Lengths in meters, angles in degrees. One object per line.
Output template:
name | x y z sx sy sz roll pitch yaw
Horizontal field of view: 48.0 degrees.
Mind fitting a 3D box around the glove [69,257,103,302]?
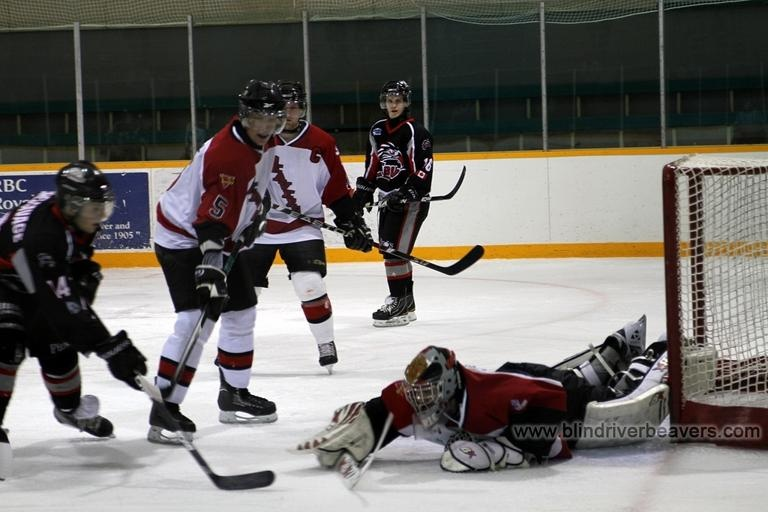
glove | -1.267 0.095 3.660 0.158 0.170 0.074 8 -2 -25

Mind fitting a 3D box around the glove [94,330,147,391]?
glove | -1.074 0.433 3.600 0.161 0.257 0.069 -39 22 7

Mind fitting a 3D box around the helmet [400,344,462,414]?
helmet | 0.197 0.503 3.590 0.233 0.224 0.294 -4 4 33

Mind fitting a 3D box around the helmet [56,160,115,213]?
helmet | -1.201 -0.273 3.495 0.268 0.219 0.185 1 11 -8

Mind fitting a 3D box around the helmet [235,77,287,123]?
helmet | -0.557 -0.709 3.908 0.173 0.132 0.198 -2 4 -10

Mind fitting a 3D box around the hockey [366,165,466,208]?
hockey | 0.228 -0.561 7.251 1.087 0.277 0.016 -6 -24 39

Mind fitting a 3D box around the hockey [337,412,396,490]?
hockey | -0.093 0.809 3.519 0.076 0.273 0.265 45 -14 -6

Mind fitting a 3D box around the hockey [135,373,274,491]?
hockey | -0.808 0.795 3.832 0.157 0.141 1.063 5 14 -40

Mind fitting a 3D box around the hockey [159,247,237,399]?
hockey | -0.861 0.321 4.039 0.167 1.021 0.085 -15 58 -39

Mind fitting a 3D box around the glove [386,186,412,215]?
glove | 0.088 -0.405 6.115 0.175 0.075 0.180 -42 22 -26

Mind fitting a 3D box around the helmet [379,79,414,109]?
helmet | 0.078 -1.151 6.119 0.203 0.181 0.212 -1 6 -2

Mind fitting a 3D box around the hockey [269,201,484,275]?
hockey | 0.033 -0.152 6.708 2.635 0.275 0.289 16 -9 -43
